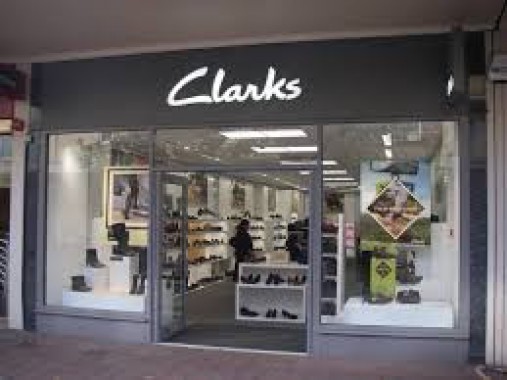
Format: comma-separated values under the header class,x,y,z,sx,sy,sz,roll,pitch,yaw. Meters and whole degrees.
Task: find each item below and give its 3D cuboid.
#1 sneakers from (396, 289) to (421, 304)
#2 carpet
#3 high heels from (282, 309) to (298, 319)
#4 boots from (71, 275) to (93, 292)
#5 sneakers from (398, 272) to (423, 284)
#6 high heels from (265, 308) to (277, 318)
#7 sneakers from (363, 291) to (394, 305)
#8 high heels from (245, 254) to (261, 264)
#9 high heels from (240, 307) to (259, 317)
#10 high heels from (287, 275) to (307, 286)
class,x,y,z,sx,sy,sz,roll,pitch,yaw
sneakers,2.241,1.529,6.157,0.283,0.137,0.189,1,-3,4
carpet,-0.171,2.453,7.144,2.122,0.094,1.408,0,-1,7
high heels,0.702,2.418,8.257,0.366,0.195,0.122,0,-11,11
boots,-2.898,1.570,7.177,0.342,0.242,0.234,0,-6,13
sneakers,2.300,1.290,6.257,0.333,0.137,0.129,-1,-5,9
high heels,0.358,2.415,8.313,0.135,0.069,0.192,0,16,9
sneakers,1.833,1.597,6.299,0.448,0.180,0.168,-1,-7,7
high heels,-0.025,1.443,8.829,0.266,0.113,0.155,-4,-6,20
high heels,-0.075,2.386,8.329,0.317,0.137,0.166,0,-4,2
high heels,0.867,1.752,8.237,0.302,0.125,0.160,0,-1,-43
